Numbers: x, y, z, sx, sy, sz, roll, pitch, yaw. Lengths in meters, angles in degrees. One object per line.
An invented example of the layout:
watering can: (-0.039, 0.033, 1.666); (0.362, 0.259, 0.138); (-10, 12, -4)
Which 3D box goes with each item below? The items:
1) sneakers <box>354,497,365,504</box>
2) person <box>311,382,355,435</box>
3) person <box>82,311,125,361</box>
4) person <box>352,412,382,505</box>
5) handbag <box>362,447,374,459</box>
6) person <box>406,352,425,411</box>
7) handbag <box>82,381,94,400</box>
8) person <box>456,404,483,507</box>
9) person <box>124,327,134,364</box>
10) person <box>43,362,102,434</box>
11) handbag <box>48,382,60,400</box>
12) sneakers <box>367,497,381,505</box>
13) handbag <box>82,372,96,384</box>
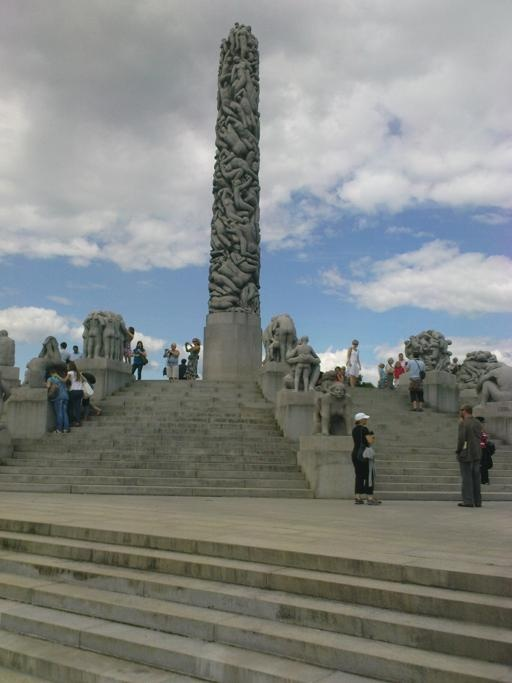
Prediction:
sneakers: (1.474, 2.281, 9.422); (0.074, 0.077, 0.189); (-5, -21, 14)
person: (1.287, 1.142, 10.996); (0.632, 0.908, 0.510); (-6, 0, -1)
person: (-4.309, -0.174, 18.868); (1.322, 1.384, 0.931); (-5, -1, -33)
person: (1.599, 1.740, 9.843); (0.380, 1.337, 1.383); (-6, 0, 8)
handbag: (1.621, 1.602, 9.480); (0.170, 0.228, 0.125); (-3, -7, 11)
person: (4.226, 1.055, 17.646); (0.598, 1.585, 0.561); (9, -11, -42)
handbag: (-3.810, 1.079, 14.809); (0.249, 0.437, 0.467); (-1, -14, -24)
person: (2.948, 1.592, 9.093); (0.412, 1.418, 0.588); (-6, 0, 18)
person: (-3.851, 0.112, 19.873); (0.350, 1.062, 1.101); (-6, 0, -12)
person: (-4.161, 1.196, 14.439); (0.731, 1.471, 1.092); (-6, -1, 33)
handbag: (-4.422, 1.074, 14.344); (0.257, 0.427, 0.242); (-6, 0, -15)
sneakers: (1.694, 2.260, 9.298); (0.228, 0.087, 0.079); (5, -3, -26)
handbag: (-3.929, 0.861, 15.483); (0.332, 0.267, 0.247); (-2, -2, -3)
